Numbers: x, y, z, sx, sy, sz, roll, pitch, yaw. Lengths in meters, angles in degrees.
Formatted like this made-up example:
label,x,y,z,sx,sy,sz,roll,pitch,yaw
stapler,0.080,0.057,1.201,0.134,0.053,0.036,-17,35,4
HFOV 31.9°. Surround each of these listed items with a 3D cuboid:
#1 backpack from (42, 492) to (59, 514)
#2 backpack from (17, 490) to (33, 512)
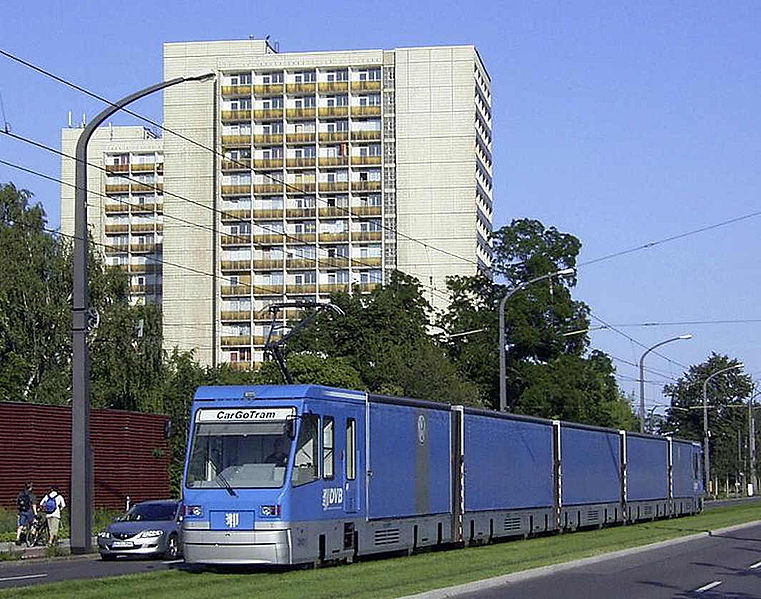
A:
label,x,y,z,sx,sy,sz,roll,pitch,yaw
backpack,-10.709,6.553,42.823,0.436,0.674,0.660,4,-23,-12
backpack,-11.512,6.488,42.943,0.577,0.908,0.467,1,-12,-6
